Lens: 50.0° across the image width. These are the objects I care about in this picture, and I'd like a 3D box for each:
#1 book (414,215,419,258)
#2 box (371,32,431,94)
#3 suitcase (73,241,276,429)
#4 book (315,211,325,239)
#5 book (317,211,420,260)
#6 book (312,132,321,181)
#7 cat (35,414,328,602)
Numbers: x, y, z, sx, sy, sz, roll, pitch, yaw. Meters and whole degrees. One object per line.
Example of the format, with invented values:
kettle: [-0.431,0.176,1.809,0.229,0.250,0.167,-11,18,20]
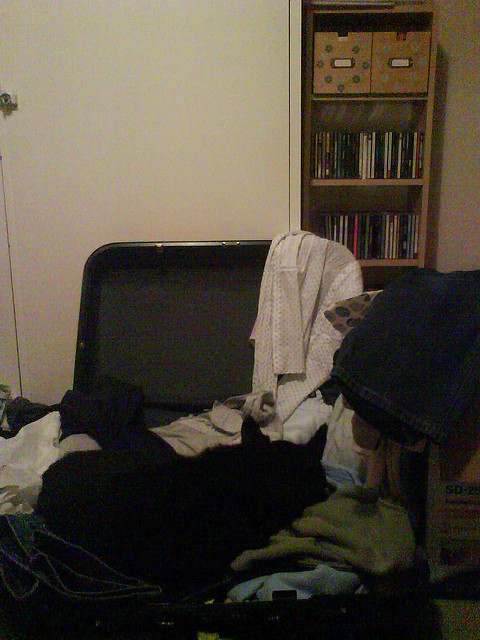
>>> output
book: [0.495,-0.235,1.447,0.010,0.115,0.026,3,13,8]
box: [0.406,-0.655,1.298,0.118,0.165,0.076,3,17,13]
suitcase: [-0.160,0.001,1.142,0.435,0.325,0.249,3,15,3]
book: [0.226,-0.274,1.471,0.034,0.073,0.015,-1,13,-9]
book: [0.367,-0.252,1.494,0.284,0.143,0.103,5,15,11]
book: [0.213,-0.456,1.426,0.036,0.120,0.012,-8,16,-34]
cat: [-0.067,0.173,0.615,0.265,0.217,0.182,-2,5,-10]
